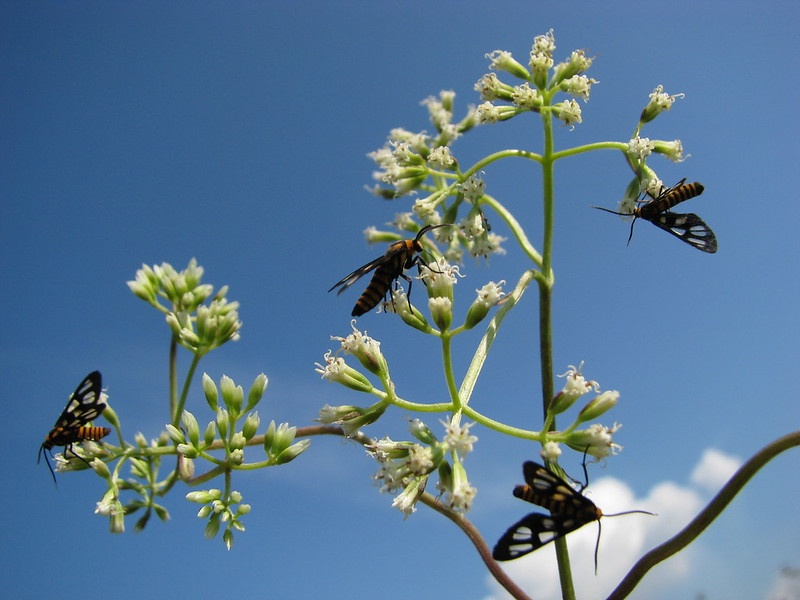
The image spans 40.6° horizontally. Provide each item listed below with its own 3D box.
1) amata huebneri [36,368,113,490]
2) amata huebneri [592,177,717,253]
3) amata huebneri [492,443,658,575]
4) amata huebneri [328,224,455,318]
[{"bbox_3d":[-2.349,0.983,8.082,0.760,0.476,0.687,-26,-26,34],"label":"amata huebneri"},{"bbox_3d":[1.814,-0.633,7.831,0.762,0.844,0.336,-28,-92,4],"label":"amata huebneri"},{"bbox_3d":[0.957,1.565,6.857,0.738,1.013,0.683,-18,-55,4],"label":"amata huebneri"},{"bbox_3d":[-0.044,-0.192,7.795,0.855,0.550,0.465,-23,-88,-4],"label":"amata huebneri"}]
